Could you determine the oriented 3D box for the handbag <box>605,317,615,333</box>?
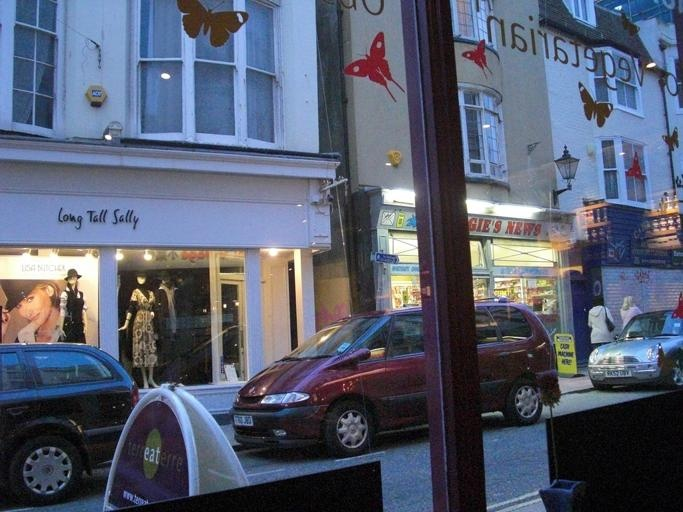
[{"bbox_3d":[1.481,0.377,3.636,0.019,0.080,0.054,-18,9,-21],"label":"handbag"}]

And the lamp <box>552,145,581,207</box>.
[{"bbox_3d":[1.281,-0.460,3.643,0.159,0.349,0.115,-3,21,20],"label":"lamp"}]
